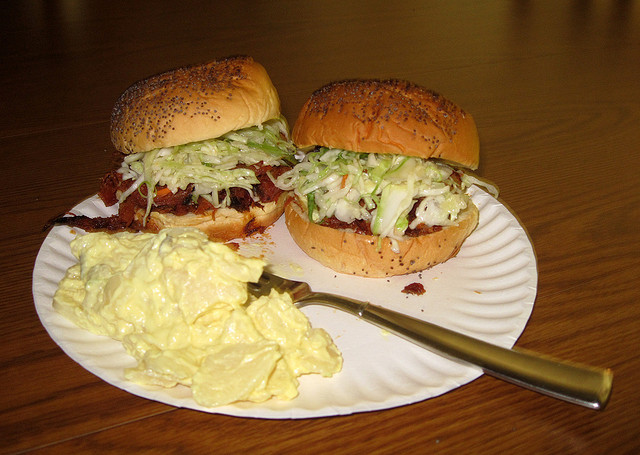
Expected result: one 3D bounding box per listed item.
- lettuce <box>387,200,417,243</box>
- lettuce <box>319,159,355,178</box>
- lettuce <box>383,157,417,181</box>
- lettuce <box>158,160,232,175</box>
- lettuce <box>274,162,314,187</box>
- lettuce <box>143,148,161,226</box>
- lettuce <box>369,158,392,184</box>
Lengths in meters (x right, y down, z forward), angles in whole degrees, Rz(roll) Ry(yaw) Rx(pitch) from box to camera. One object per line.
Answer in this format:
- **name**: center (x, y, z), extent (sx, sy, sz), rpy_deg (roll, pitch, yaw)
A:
- **lettuce**: center (0.431, -0.033, 3.004), extent (0.216, 0.151, 0.067), rpy_deg (-67, 25, 4)
- **lettuce**: center (0.101, -0.328, 3.040), extent (0.166, 0.033, 0.081), rpy_deg (-21, 76, 18)
- **lettuce**: center (0.441, -0.305, 2.948), extent (0.164, 0.133, 0.046), rpy_deg (-20, 44, -13)
- **lettuce**: center (-0.721, -0.336, 3.161), extent (0.392, 0.089, 0.037), rpy_deg (3, 52, 4)
- **lettuce**: center (-0.158, -0.319, 3.208), extent (0.196, 0.137, 0.047), rpy_deg (-27, 79, 1)
- **lettuce**: center (-0.942, -0.229, 3.152), extent (0.069, 0.077, 0.426), rpy_deg (2, 83, 22)
- **lettuce**: center (0.323, -0.302, 2.942), extent (0.096, 0.038, 0.133), rpy_deg (33, 99, 13)
